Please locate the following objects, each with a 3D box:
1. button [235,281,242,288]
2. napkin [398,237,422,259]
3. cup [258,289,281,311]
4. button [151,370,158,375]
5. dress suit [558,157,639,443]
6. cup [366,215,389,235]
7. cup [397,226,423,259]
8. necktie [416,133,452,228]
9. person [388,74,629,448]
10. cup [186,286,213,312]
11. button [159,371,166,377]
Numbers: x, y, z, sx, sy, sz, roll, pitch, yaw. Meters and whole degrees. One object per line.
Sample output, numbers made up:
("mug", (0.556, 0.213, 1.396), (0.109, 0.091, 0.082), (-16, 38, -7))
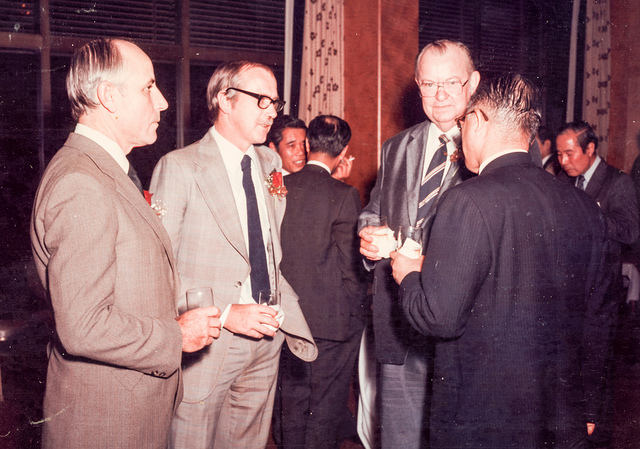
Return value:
("button", (-0.422, 0.306, 2.992), (0.034, 0.033, 0.008), (5, -2, -4))
("napkin", (0.450, 0.116, 2.909), (0.112, 0.089, 0.112), (3, 5, 6))
("cup", (-0.246, 0.375, 2.895), (0.094, 0.088, 0.094), (0, -6, 0))
("button", (-0.717, 0.639, 2.518), (0.017, 0.024, 0.006), (19, 3, 4))
("dress suit", (1.747, 0.490, 3.601), (0.387, 1.829, 2.197), (5, 5, 27))
("cup", (0.314, 0.000, 3.197), (0.116, 0.112, 0.093), (-2, 0, 13))
("cup", (0.495, 0.107, 3.127), (0.119, 0.193, 0.125), (-3, 27, 1))
("necktie", (0.628, -0.254, 3.228), (0.199, 0.491, 0.246), (5, 18, 9))
("person", (0.918, 0.187, 2.734), (1.055, 1.760, 0.422), (2, 5, -10))
("cup", (-0.569, 0.349, 2.741), (0.109, 0.118, 0.110), (-4, -9, -1))
("button", (-0.687, 0.646, 2.527), (0.034, 0.021, 0.008), (-4, 11, -19))
